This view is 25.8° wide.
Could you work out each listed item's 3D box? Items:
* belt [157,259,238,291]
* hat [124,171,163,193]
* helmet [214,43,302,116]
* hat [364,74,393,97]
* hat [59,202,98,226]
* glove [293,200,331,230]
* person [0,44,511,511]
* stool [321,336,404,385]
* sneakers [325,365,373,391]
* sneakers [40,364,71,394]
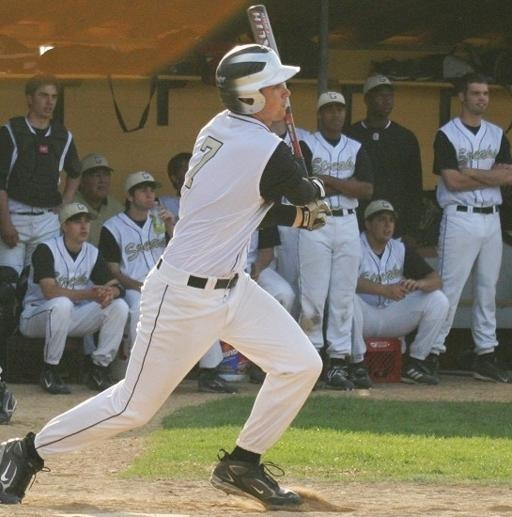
[{"bbox_3d":[-0.245,0.075,4.700,0.352,0.121,0.117,1,6,-5],"label":"belt"},{"bbox_3d":[-0.788,-0.525,7.515,0.154,0.086,0.201,-4,-12,-46],"label":"hat"},{"bbox_3d":[0.016,-0.785,4.830,0.362,0.254,0.349,-28,31,-36],"label":"helmet"},{"bbox_3d":[0.867,-1.232,7.992,0.155,0.085,0.193,-4,3,-10],"label":"hat"},{"bbox_3d":[-1.143,-0.287,7.162,0.195,0.085,0.142,-18,-7,31],"label":"hat"},{"bbox_3d":[0.245,-0.184,4.903,0.182,0.094,0.077,-5,12,-14],"label":"glove"},{"bbox_3d":[-0.300,0.073,4.778,1.218,1.970,0.387,2,7,-1],"label":"person"},{"bbox_3d":[0.786,0.694,7.607,0.396,0.314,0.299,0,1,-3],"label":"stool"},{"bbox_3d":[0.600,0.781,7.278,0.135,0.133,0.351,4,-11,-24],"label":"sneakers"},{"bbox_3d":[-1.219,0.762,6.885,0.105,0.110,0.300,-2,7,-43],"label":"sneakers"}]
